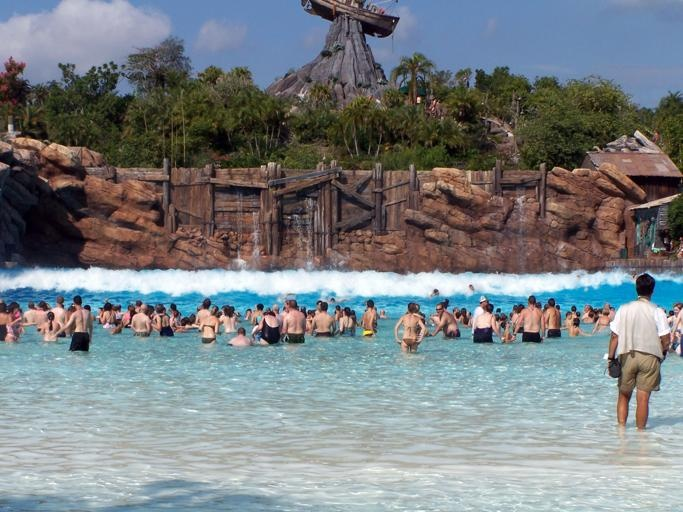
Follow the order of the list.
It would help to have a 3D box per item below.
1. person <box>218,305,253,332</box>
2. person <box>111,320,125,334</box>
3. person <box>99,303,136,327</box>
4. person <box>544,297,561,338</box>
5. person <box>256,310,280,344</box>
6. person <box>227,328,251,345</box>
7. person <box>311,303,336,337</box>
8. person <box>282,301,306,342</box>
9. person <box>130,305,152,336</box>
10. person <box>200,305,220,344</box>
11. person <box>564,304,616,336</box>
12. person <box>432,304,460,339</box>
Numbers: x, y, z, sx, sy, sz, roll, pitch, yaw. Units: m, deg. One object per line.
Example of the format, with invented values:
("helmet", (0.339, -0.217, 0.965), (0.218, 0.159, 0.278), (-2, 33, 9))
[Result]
("person", (-4.129, 2.312, 51.110), (1.099, 1.447, 0.877), (-1, 12, -12))
("person", (-8.511, 2.656, 51.218), (0.469, 0.542, 0.983), (-1, 13, -8))
("person", (-8.669, 2.260, 52.392), (0.675, 1.054, 2.040), (1, 5, -38))
("person", (7.861, 2.387, 51.005), (0.610, 1.181, 0.951), (3, 13, 7))
("person", (-2.701, 2.598, 49.207), (1.245, 1.323, 0.750), (1, -2, -8))
("person", (-3.718, 2.864, 48.926), (0.826, 0.679, 0.699), (-1, 14, -11))
("person", (-0.755, 2.382, 51.330), (0.981, 1.423, 0.781), (-2, 10, -2))
("person", (-1.756, 2.263, 49.261), (0.893, 1.609, 0.915), (10, 16, 32))
("person", (-7.449, 2.409, 50.615), (0.712, 1.268, 0.842), (-2, 11, -19))
("person", (-4.877, 2.514, 49.668), (0.660, 1.256, 1.311), (0, 13, -6))
("person", (9.629, 2.523, 52.889), (1.393, 0.671, 1.951), (0, 4, 8))
("person", (3.888, 2.331, 50.787), (1.241, 1.407, 0.706), (-9, 17, -38))
